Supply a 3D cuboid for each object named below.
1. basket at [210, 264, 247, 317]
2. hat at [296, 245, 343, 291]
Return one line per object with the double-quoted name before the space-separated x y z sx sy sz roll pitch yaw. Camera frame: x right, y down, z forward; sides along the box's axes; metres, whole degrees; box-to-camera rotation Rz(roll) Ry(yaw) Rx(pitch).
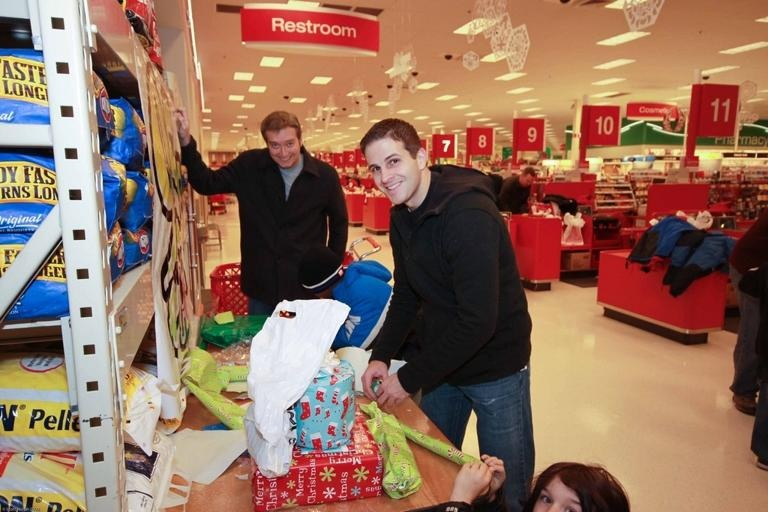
"basket" -0.947 0.214 3.469 0.303 0.215 0.211 -4 -7 -16
"hat" -0.314 0.081 2.762 0.178 0.232 0.175 27 23 -44
